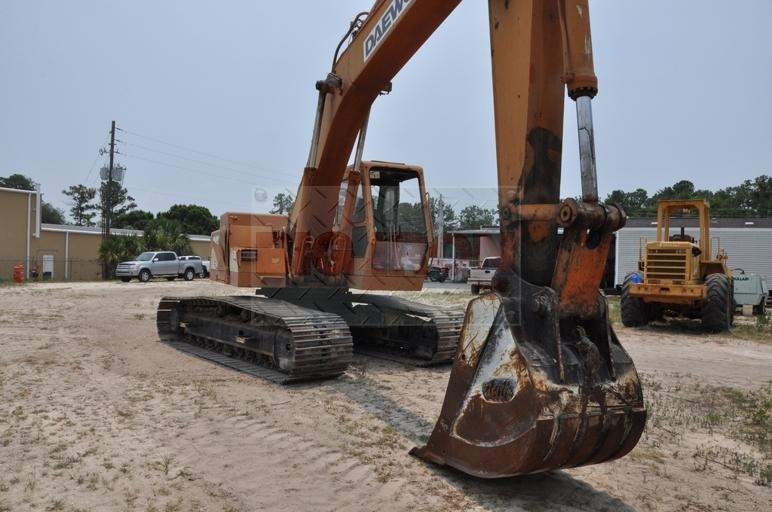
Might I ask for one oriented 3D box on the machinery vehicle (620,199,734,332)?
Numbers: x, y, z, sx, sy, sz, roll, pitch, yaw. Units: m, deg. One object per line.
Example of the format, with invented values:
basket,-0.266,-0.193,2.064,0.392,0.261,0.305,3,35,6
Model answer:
machinery vehicle,8.035,0.235,16.472,2.294,3.787,4.240,0,-5,37
